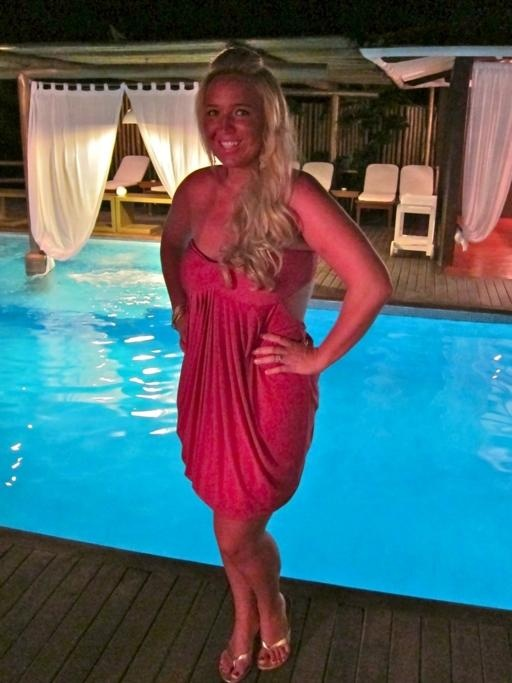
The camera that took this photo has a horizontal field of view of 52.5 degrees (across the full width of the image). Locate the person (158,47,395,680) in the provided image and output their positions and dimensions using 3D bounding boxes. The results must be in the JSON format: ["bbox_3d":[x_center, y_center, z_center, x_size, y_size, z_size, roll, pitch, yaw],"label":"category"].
[{"bbox_3d":[-0.015,0.142,1.228,0.251,1.509,0.617,-8,15,-31],"label":"person"}]

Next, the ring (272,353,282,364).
[{"bbox_3d":[0.041,0.034,1.106,0.019,0.007,0.023,3,44,1],"label":"ring"}]

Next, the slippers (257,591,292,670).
[{"bbox_3d":[0.047,0.851,1.489,0.084,0.046,0.256,-7,12,5],"label":"slippers"}]

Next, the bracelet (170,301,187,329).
[{"bbox_3d":[-0.201,-0.068,1.367,0.051,0.056,0.061,1,0,1],"label":"bracelet"}]

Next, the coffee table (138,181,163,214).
[{"bbox_3d":[-2.130,-2.921,10.479,0.697,0.701,0.605,2,17,0],"label":"coffee table"}]

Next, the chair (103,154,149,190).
[{"bbox_3d":[-2.640,-3.611,10.925,0.729,0.781,1.412,-1,12,-7],"label":"chair"}]
